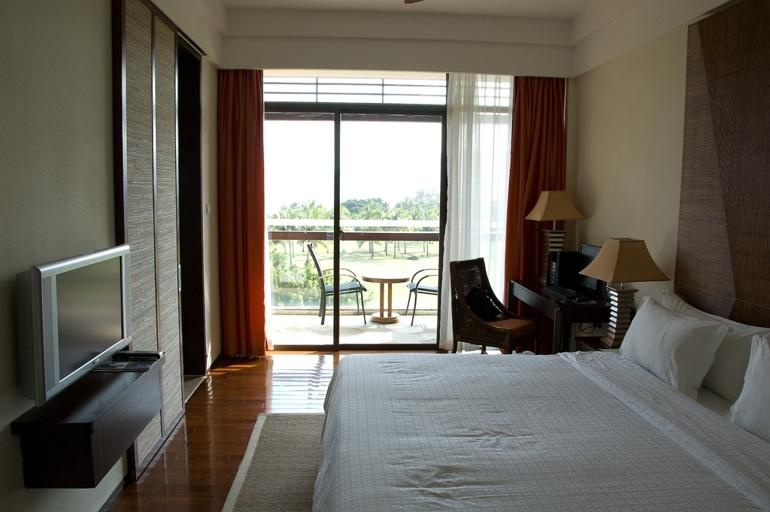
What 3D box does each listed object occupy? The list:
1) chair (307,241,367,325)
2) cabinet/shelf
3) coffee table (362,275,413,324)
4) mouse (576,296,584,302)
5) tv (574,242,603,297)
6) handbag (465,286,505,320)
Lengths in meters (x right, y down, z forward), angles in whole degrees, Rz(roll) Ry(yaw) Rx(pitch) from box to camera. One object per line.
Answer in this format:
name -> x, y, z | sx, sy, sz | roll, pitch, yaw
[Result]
chair -> -0.538, 0.267, 6.490 | 0.851, 1.144, 0.720 | -2, 8, -5
cabinet/shelf -> -1.655, 0.683, 2.959 | 0.435, 0.411, 1.255 | 0, 9, -4
coffee table -> 0.013, 0.481, 6.194 | 0.530, 0.470, 0.541 | 2, 5, 24
mouse -> 1.725, 0.383, 4.777 | 0.057, 0.015, 0.055 | -3, 26, 14
tv -> 1.849, 0.147, 4.901 | 0.159, 0.455, 0.447 | 1, 4, -6
handbag -> 0.962, 0.492, 5.267 | 0.295, 0.339, 0.110 | -24, -11, -31
